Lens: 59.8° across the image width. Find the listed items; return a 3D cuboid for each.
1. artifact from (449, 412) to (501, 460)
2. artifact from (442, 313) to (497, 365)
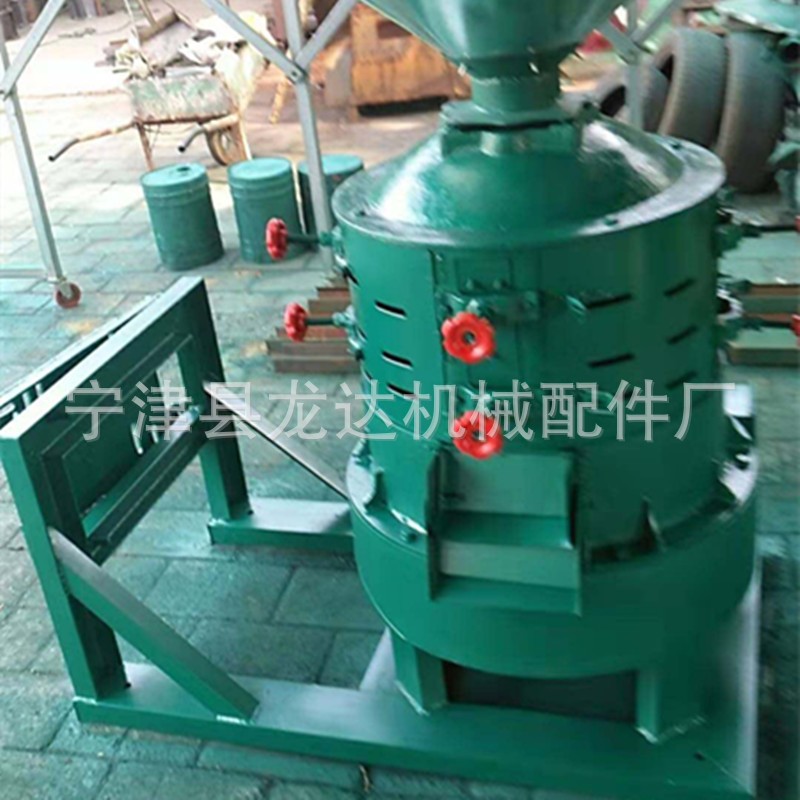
[{"bbox_3d":[0.155,0.065,1.425,0.103,0.096,0.043,-2,4,33],"label":"artifact"},{"bbox_3d":[0.139,-0.125,1.337,0.107,0.094,0.102,-8,26,-3],"label":"artifact"}]
